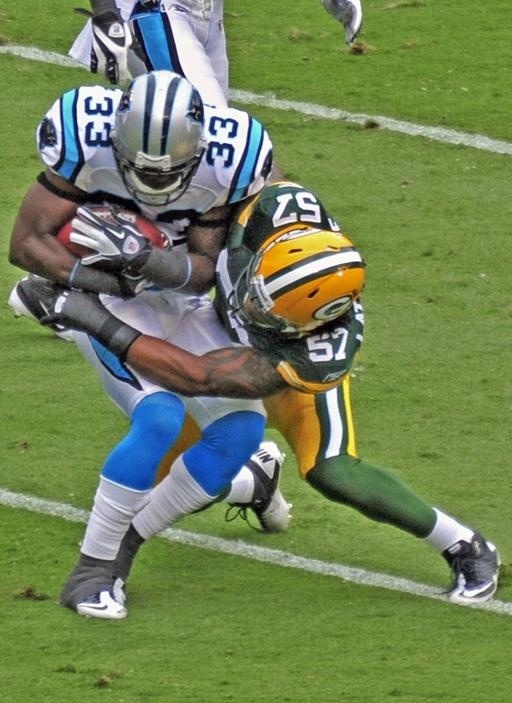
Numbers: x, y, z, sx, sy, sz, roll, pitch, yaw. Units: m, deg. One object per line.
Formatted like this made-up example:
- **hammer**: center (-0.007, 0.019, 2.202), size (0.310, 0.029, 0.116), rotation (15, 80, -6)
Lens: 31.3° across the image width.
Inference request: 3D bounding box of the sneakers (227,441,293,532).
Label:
- **sneakers**: center (0.009, 0.562, 3.590), size (0.272, 0.459, 0.156), rotation (-30, 62, -17)

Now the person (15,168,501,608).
- **person**: center (0.076, 0.196, 2.983), size (1.903, 0.674, 1.324), rotation (14, 77, -23)

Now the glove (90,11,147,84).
- **glove**: center (-0.660, -1.415, 4.354), size (0.334, 0.362, 0.215), rotation (1, 86, -7)

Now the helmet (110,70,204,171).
- **helmet**: center (-0.255, -0.660, 2.762), size (0.302, 0.270, 0.292), rotation (4, 74, -3)

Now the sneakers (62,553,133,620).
- **sneakers**: center (-0.487, 0.709, 2.737), size (0.103, 0.297, 0.181), rotation (41, 63, -35)

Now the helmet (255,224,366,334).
- **helmet**: center (0.152, -0.210, 2.497), size (0.417, 0.284, 0.253), rotation (-13, 101, 6)

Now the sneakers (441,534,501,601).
- **sneakers**: center (0.729, 0.742, 3.082), size (0.326, 0.118, 0.182), rotation (-29, 101, -58)

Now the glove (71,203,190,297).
- **glove**: center (-0.395, -0.308, 2.802), size (0.407, 0.162, 0.219), rotation (23, 70, -9)

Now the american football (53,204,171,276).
- **american football**: center (-0.431, -0.353, 2.706), size (0.282, 0.069, 0.215), rotation (27, 45, 27)
